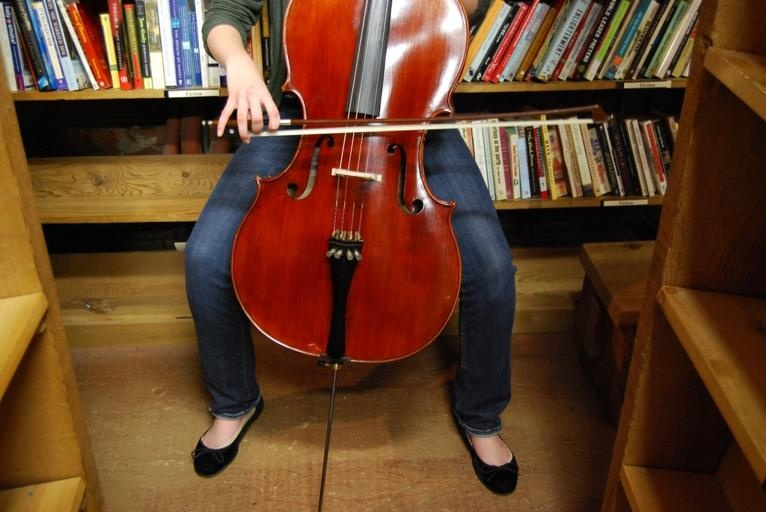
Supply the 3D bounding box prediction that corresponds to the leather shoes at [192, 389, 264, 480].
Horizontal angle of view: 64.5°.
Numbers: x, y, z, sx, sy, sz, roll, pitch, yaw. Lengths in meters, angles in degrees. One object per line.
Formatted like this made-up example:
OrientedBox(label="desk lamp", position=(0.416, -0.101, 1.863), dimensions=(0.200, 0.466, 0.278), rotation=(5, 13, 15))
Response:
OrientedBox(label="leather shoes", position=(-0.482, 0.575, 2.006), dimensions=(0.117, 0.086, 0.315), rotation=(31, 68, 9))
